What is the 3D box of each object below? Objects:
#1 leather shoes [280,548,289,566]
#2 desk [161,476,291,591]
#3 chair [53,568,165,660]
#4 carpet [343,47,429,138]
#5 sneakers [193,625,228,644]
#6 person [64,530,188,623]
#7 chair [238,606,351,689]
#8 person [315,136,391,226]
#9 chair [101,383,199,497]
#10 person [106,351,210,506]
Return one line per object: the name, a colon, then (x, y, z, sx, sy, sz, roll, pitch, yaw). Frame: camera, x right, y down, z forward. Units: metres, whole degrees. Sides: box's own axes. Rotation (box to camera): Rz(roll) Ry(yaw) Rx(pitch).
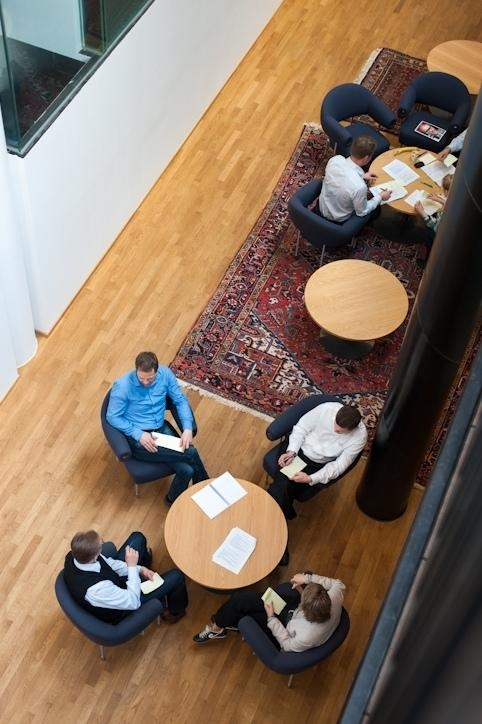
leather shoes: (0.424, 1.886, 5.132, 0.071, 0.087, 0.224, 4, 78, 6)
desk: (-0.124, 1.623, 4.906, 1.096, 0.368, 1.130, 18, 40, 17)
chair: (-0.975, 1.944, 4.388, 0.602, 0.629, 0.701, 37, 31, 30)
carpet: (2.598, -4.508, 9.636, 1.578, 0.132, 1.745, 25, 69, 4)
sneakers: (-0.261, 2.407, 4.729, 0.343, 0.162, 0.123, -14, 82, -1)
person: (-0.926, 1.774, 4.367, 0.548, 0.857, 0.470, -42, 74, -6)
chair: (0.388, 2.242, 4.421, 0.659, 0.587, 0.575, -33, 67, -18)
person: (1.405, -2.231, 6.639, 0.777, 0.940, 0.568, 9, 45, 1)
chair: (-1.010, 0.733, 5.506, 0.917, 1.063, 0.988, -26, 78, -10)
person: (-0.705, 0.655, 5.228, 1.050, 1.574, 0.703, 16, 29, 30)
